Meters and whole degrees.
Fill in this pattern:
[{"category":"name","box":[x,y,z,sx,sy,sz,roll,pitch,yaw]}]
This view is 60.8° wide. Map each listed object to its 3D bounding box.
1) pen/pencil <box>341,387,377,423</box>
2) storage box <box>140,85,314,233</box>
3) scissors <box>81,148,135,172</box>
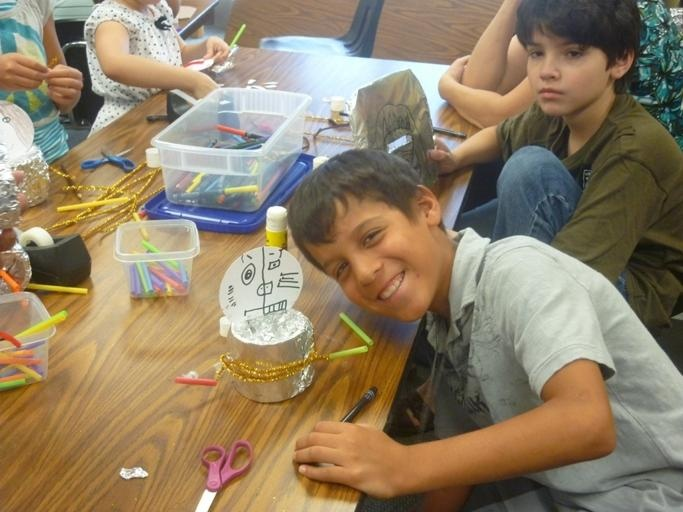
[{"category":"pen/pencil","box":[0.035,0.293,1.136,0.027,0.023,0.130,26,38,17]},{"category":"storage box","box":[-0.309,-0.297,1.733,0.349,0.237,0.596,11,40,12]},{"category":"scissors","box":[-0.729,-0.300,1.841,0.092,0.013,0.104,5,27,4]}]
